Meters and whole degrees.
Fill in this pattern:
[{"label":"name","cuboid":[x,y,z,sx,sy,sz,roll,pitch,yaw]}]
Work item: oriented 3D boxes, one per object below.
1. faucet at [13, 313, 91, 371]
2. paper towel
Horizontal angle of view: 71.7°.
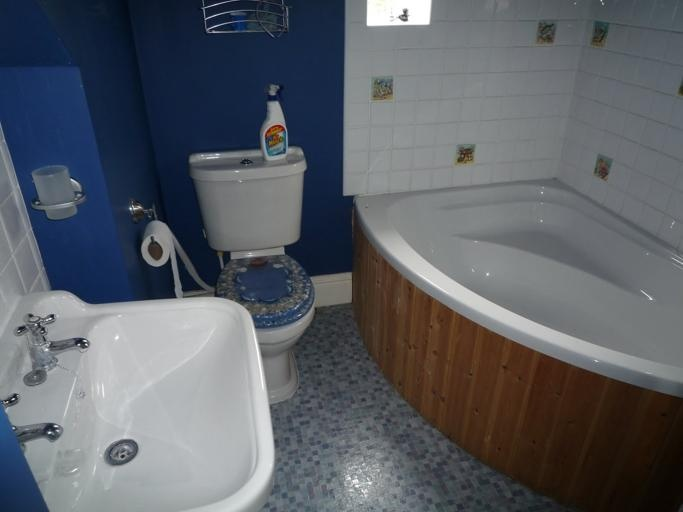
[{"label":"faucet","cuboid":[-0.757,0.229,1.227,0.133,0.140,0.080,1,44,-17]},{"label":"paper towel","cuboid":[-0.776,0.004,2.237,0.176,0.378,0.183,-10,35,-12]}]
